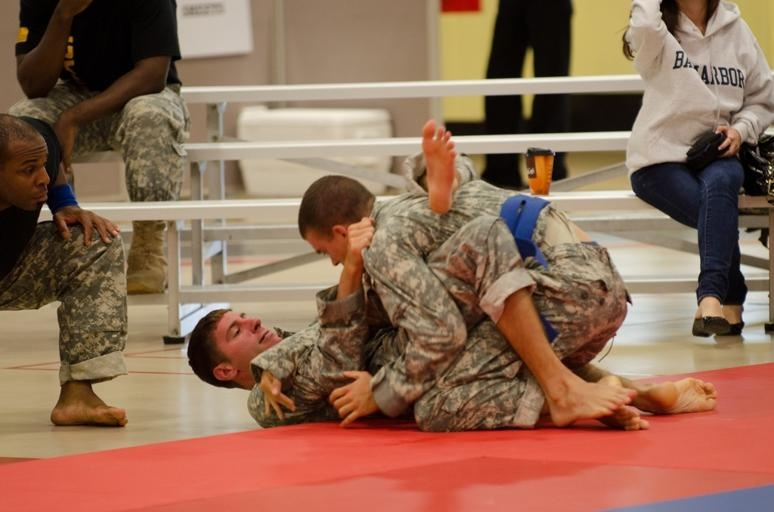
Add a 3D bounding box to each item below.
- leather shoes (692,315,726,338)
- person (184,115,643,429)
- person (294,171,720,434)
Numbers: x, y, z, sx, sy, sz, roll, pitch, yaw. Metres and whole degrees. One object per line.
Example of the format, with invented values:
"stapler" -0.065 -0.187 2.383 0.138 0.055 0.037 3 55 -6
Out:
"leather shoes" 1.151 0.248 3.084 0.104 0.062 0.213 -2 -2 17
"person" 0.071 0.151 2.760 1.349 0.840 0.769 -11 -3 27
"person" 0.345 0.134 2.684 0.887 0.705 0.964 -2 2 -36
